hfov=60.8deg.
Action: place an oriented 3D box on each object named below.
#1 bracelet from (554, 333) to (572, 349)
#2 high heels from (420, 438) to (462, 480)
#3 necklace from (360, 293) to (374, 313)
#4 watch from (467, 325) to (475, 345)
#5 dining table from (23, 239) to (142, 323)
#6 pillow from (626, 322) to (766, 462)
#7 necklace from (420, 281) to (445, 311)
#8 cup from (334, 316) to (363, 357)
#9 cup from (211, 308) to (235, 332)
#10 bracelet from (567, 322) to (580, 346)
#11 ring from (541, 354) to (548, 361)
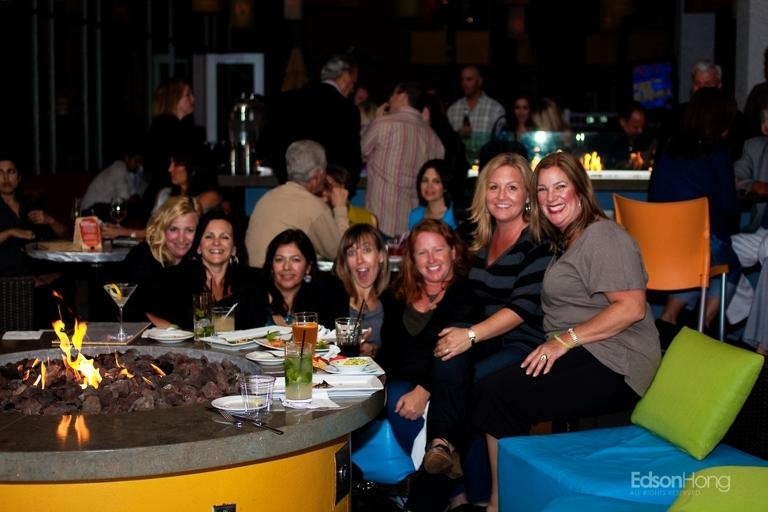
[{"bbox_3d":[0.828,0.396,3.039,0.045,0.017,0.072,-14,44,-41],"label":"bracelet"},{"bbox_3d":[0.271,0.961,3.070,0.183,0.189,0.129,0,7,4],"label":"high heels"},{"bbox_3d":[-0.095,0.266,3.651,0.082,0.079,0.026,-30,52,-26],"label":"necklace"},{"bbox_3d":[0.436,0.398,3.257,0.046,0.065,0.067,-3,37,-11],"label":"watch"},{"bbox_3d":[-2.196,0.276,4.851,0.758,0.541,0.781,8,10,34],"label":"dining table"},{"bbox_3d":[1.277,0.560,2.688,0.144,0.456,0.453,37,-4,-28],"label":"pillow"},{"bbox_3d":[0.261,0.211,3.478,0.094,0.158,0.040,0,-34,30],"label":"necklace"},{"bbox_3d":[-0.161,0.372,3.026,0.172,0.241,0.157,0,7,0],"label":"cup"},{"bbox_3d":[-0.798,0.318,3.302,0.115,0.116,0.105,0,5,0],"label":"cup"},{"bbox_3d":[0.863,0.360,3.019,0.052,0.074,0.074,-22,54,-9],"label":"bracelet"},{"bbox_3d":[0.738,0.471,3.012,0.024,0.031,0.010,0,-7,14],"label":"ring"}]
